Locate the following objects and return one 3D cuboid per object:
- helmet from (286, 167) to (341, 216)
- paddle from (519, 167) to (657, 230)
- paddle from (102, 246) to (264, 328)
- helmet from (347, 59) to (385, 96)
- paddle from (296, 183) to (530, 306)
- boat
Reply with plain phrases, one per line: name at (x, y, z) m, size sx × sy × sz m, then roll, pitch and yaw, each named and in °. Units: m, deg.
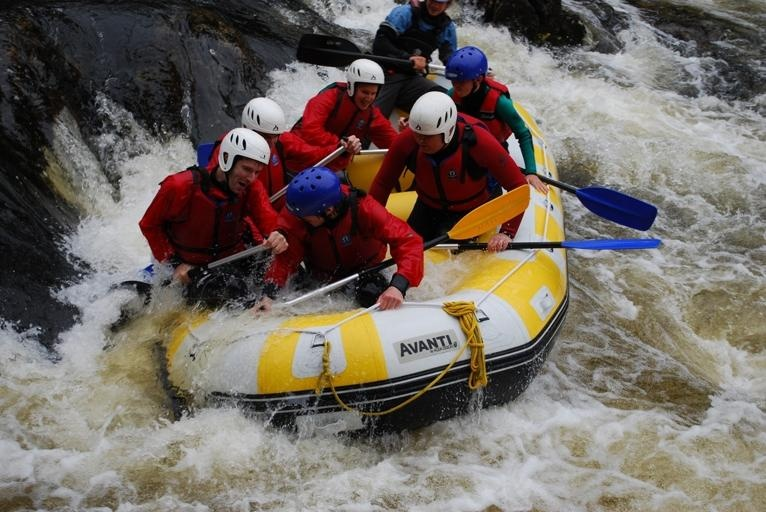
helmet at (-0.701, -0.662, 8.666) m, size 0.531 × 0.311 × 0.394 m, roll -32°, pitch 61°, yaw 1°
paddle at (2.464, -0.664, 10.476) m, size 1.646 × 0.359 × 0.115 m, roll 30°, pitch 6°, yaw 10°
paddle at (-2.030, 0.201, 9.146) m, size 1.522 × 0.314 × 0.864 m, roll -22°, pitch 21°, yaw 5°
helmet at (-0.214, -2.142, 10.293) m, size 0.348 × 0.427 × 0.445 m, roll -6°, pitch 31°, yaw -25°
paddle at (0.311, -0.080, 9.115) m, size 2.772 × 0.322 × 0.205 m, roll -23°, pitch 21°, yaw -15°
boat at (0.244, 0.729, 8.809) m, size 3.060 × 1.036 × 2.304 m, roll -41°, pitch 54°, yaw -17°
